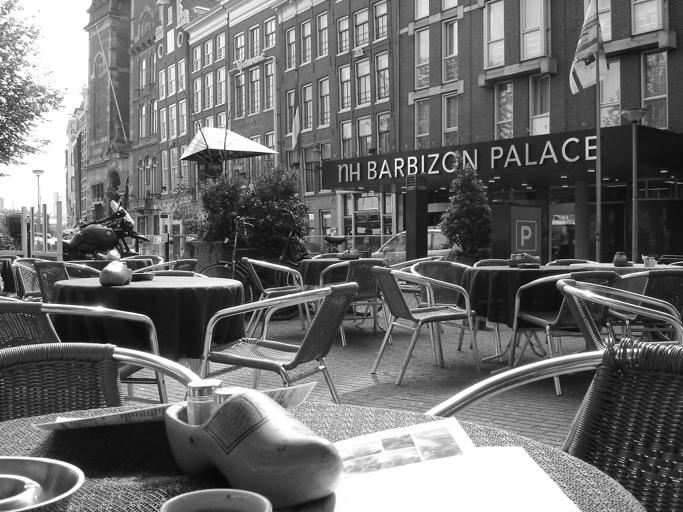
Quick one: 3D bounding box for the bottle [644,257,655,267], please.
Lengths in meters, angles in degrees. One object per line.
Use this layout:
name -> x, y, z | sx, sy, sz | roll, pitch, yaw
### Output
bottle -> 3.631, 0.073, 7.280 | 0.127, 0.135, 0.109 | -4, 5, -23

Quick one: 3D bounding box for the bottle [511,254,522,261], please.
bottle -> 2.624, 0.020, 9.223 | 0.155, 0.063, 0.163 | -1, 3, 0

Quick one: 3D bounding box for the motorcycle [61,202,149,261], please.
motorcycle -> -5.107, -0.540, 13.291 | 1.433, 1.234, 2.732 | -3, 3, -15

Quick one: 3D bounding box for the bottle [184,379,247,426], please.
bottle -> -0.244, 0.271, 1.201 | 0.111, 0.116, 0.062 | -1, 2, -21

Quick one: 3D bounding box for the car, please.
car -> 2.184, -0.252, 17.831 | 1.897, 1.090, 1.133 | 2, 2, 19

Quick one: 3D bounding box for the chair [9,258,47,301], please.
chair -> -3.788, 0.278, 7.479 | 0.381, 0.498, 0.436 | -17, -4, 17

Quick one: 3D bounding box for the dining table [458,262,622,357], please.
dining table -> 1.916, 0.580, 5.944 | 1.044, 1.068, 0.952 | -1, 13, -13
